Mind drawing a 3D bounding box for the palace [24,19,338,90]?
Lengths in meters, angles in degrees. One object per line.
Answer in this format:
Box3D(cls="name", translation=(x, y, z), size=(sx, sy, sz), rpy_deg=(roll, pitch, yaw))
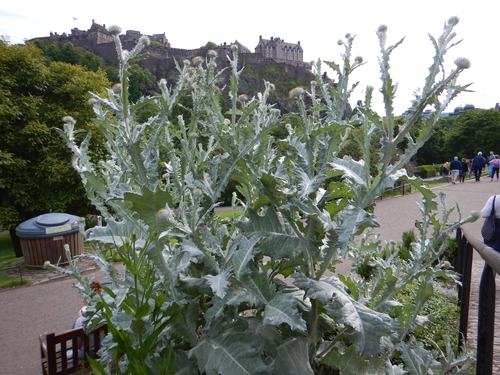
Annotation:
Box3D(cls="palace", translation=(-13.027, -32.228, 85.860), size=(59.864, 16.186, 42.431), rpy_deg=(-3, 15, -19))
